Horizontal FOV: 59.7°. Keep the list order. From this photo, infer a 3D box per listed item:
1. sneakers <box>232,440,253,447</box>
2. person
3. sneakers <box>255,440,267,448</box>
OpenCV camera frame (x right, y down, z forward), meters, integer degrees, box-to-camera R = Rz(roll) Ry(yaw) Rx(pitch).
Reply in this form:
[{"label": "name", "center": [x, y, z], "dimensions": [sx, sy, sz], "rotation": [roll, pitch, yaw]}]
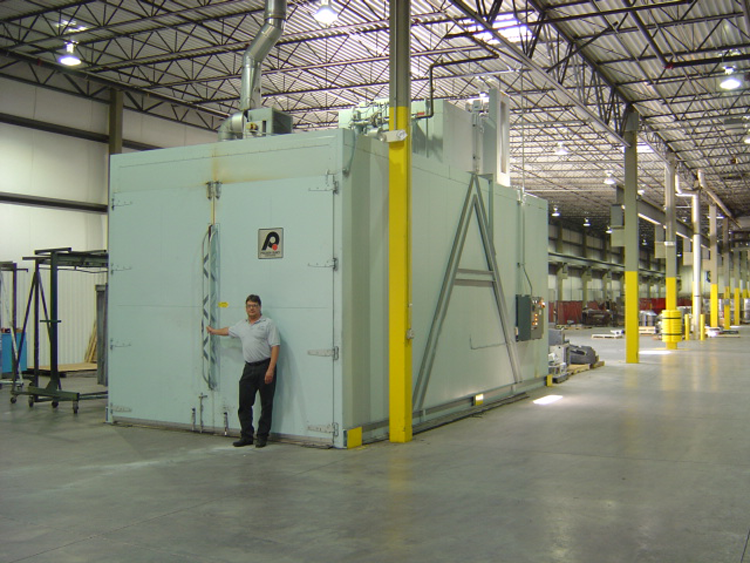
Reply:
[{"label": "sneakers", "center": [-2.241, 2.716, 11.035], "dimensions": [0.374, 0.175, 0.130], "rotation": [9, -11, -29]}, {"label": "person", "center": [-2.116, 1.498, 11.068], "dimensions": [1.050, 2.534, 0.535], "rotation": [1, 1, 25]}, {"label": "sneakers", "center": [-1.927, 2.712, 10.960], "dimensions": [0.086, 0.106, 0.151], "rotation": [2, 1, 21]}]
